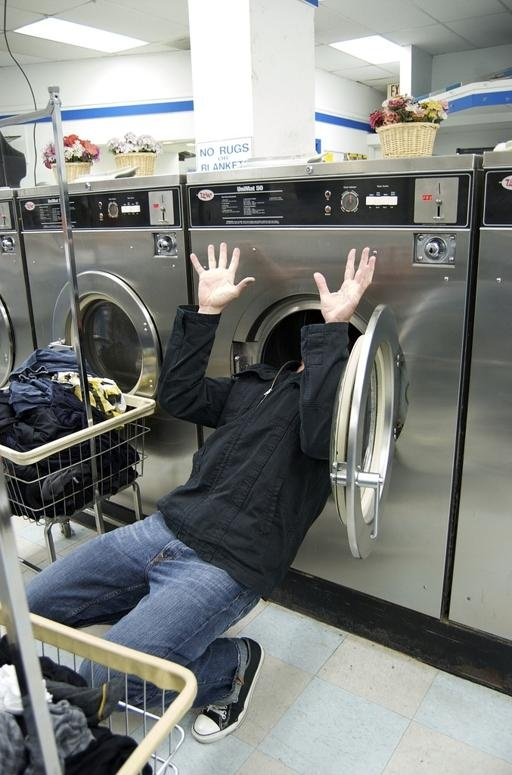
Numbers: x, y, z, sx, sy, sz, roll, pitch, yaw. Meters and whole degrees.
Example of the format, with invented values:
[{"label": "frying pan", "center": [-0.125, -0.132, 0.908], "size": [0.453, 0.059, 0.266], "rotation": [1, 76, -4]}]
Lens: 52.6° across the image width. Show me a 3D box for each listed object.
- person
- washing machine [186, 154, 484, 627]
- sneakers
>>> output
[{"label": "person", "center": [-0.135, 0.249, 1.403], "size": [0.888, 1.290, 0.561], "rotation": [-7, 11, -32]}, {"label": "washing machine", "center": [0.374, -0.060, 1.940], "size": [0.928, 1.519, 0.891], "rotation": [1, 15, 20]}, {"label": "sneakers", "center": [-0.064, 0.800, 1.437], "size": [0.096, 0.284, 0.102], "rotation": [15, -18, 22]}]
